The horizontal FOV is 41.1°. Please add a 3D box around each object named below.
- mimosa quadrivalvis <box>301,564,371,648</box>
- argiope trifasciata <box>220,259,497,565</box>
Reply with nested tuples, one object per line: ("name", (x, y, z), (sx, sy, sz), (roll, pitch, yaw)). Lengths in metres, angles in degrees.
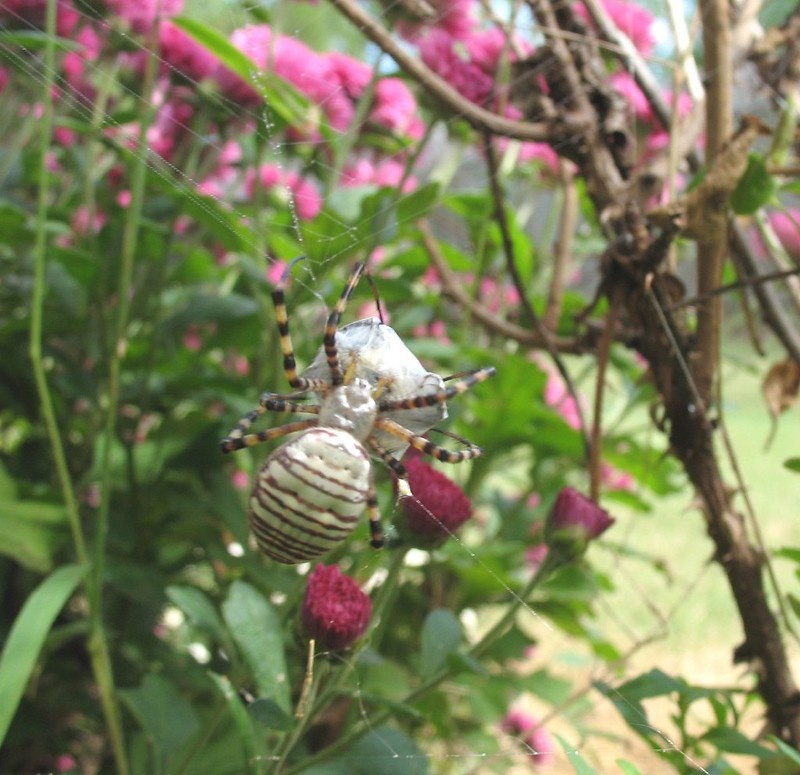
("mimosa quadrivalvis", (-0.047, 0.162, 0.773), (0.052, 0.057, 0.029), (21, -15, 0))
("argiope trifasciata", (-0.037, 0.026, 0.825), (0.203, 0.241, 0.150), (21, -15, 4))
